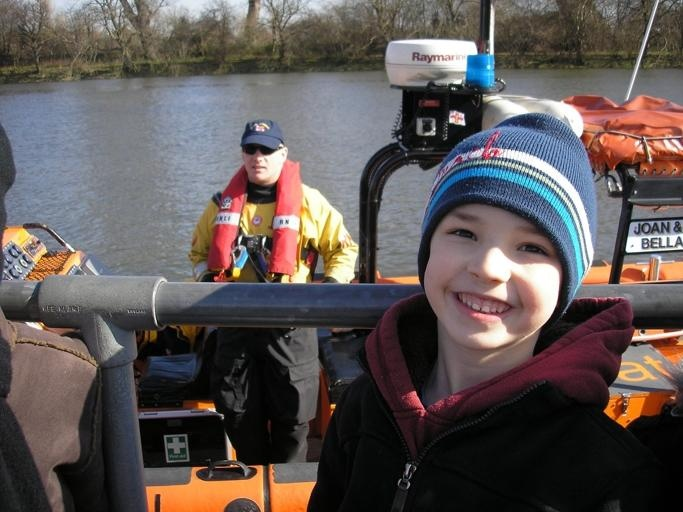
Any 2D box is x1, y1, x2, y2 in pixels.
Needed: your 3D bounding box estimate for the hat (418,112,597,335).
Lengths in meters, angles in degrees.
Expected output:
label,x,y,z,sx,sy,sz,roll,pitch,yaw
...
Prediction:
label,x,y,z,sx,sy,sz,roll,pitch,yaw
hat,0.404,-0.065,1.839,0.329,0.479,0.456,17,-5,43
